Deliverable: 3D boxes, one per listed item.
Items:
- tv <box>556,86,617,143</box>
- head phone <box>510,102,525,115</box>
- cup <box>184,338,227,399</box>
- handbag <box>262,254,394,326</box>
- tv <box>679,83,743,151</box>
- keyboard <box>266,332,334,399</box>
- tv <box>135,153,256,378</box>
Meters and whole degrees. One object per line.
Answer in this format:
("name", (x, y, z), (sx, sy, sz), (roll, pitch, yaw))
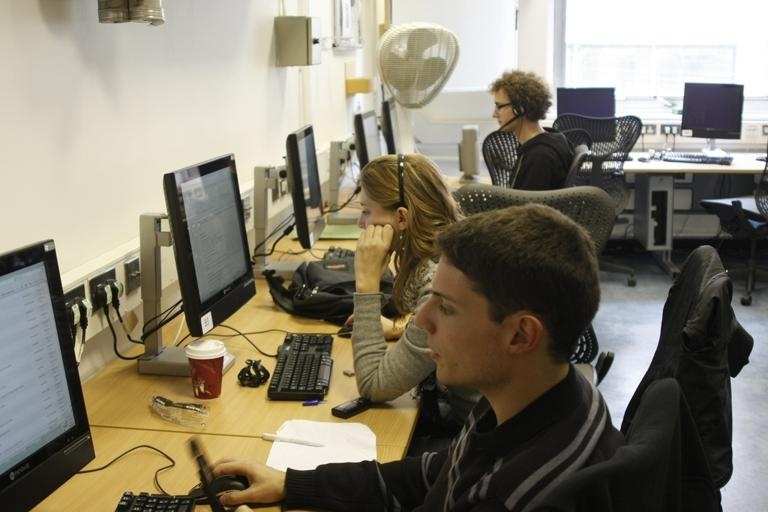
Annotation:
("tv", (1.937, -1.365, 5.414), (0.718, 0.713, 0.178), (0, -4, 11))
("head phone", (0.918, -1.003, 3.879), (0.038, 0.082, 0.068), (-11, 17, -32))
("cup", (-0.557, 0.358, 1.899), (0.167, 0.197, 0.169), (3, 22, -1))
("handbag", (-0.284, 0.155, 2.535), (0.363, 0.119, 0.374), (-3, 17, 0))
("tv", (3.157, -1.345, 5.498), (0.644, 0.754, 0.250), (5, 11, 36))
("keyboard", (-0.291, 0.394, 2.042), (0.212, 0.067, 0.383), (3, 21, 0))
("tv", (-0.683, 0.056, 2.032), (0.331, 0.744, 0.675), (1, 14, 5))
